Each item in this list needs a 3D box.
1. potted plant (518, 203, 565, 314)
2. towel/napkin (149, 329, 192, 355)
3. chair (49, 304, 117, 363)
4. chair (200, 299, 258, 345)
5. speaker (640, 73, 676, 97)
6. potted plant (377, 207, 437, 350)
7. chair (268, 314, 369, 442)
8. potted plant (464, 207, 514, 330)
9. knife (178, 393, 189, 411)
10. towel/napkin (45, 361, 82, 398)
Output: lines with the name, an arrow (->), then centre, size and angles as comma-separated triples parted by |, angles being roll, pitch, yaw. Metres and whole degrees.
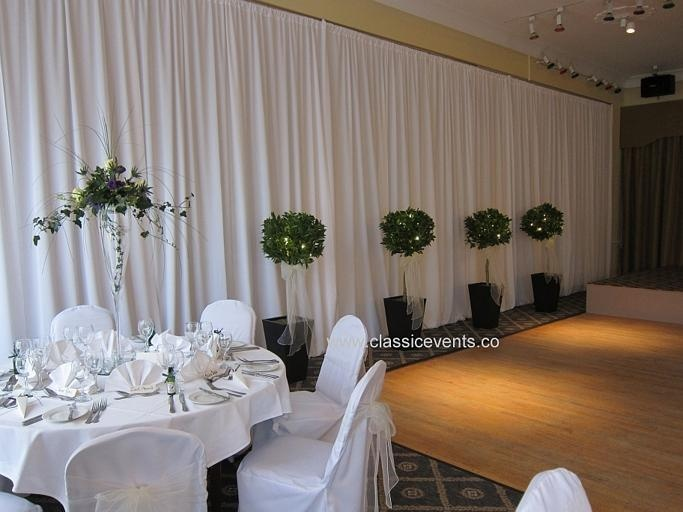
potted plant -> 3.491, -0.028, 8.733 | 0.645, 1.800, 1.442 | 3, 9, 24
towel/napkin -> -1.116, 0.560, 3.327 | 0.194, 0.105, 0.168 | 1, -1, -6
chair -> -2.000, 0.581, 3.886 | 0.341, 0.590, 0.426 | -1, -6, -16
chair -> -0.891, 0.522, 4.192 | 0.315, 0.554, 0.407 | -1, -4, 6
speaker -> 6.585, -3.472, 10.439 | 0.738, 0.477, 0.530 | 3, 8, 43
potted plant -> 0.825, 0.254, 6.430 | 0.549, 1.748, 0.585 | 7, 11, 43
chair -> -0.202, 0.763, 3.708 | 0.673, 1.107, 0.650 | 8, 4, -33
potted plant -> 2.166, 0.140, 7.520 | 0.660, 1.707, 0.931 | 3, 9, 23
knife -> -0.847, 0.781, 2.698 | 0.036, 0.023, 0.272 | 1, 11, -16
towel/napkin -> -1.560, 0.699, 2.841 | 0.158, 0.206, 0.091 | 4, -12, -5
